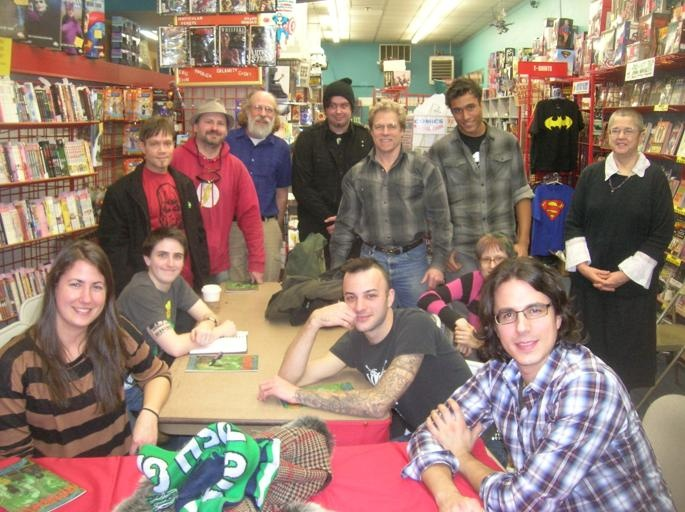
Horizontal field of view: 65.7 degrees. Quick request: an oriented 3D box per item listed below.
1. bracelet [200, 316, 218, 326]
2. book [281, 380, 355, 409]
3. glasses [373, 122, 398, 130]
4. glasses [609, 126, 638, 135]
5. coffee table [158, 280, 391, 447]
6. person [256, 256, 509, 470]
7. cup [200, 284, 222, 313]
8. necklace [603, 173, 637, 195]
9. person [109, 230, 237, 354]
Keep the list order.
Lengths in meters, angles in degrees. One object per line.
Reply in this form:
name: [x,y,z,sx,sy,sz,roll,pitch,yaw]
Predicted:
bracelet: [-0.767,0.380,3.125,0.075,0.051,0.069,4,-21,-34]
book: [-0.064,0.613,2.498,0.231,0.078,0.203,-4,17,0]
glasses: [0.306,-0.897,3.677,0.161,0.043,0.051,-5,17,-2]
glasses: [1.966,-0.874,3.703,0.187,0.071,0.077,6,20,29]
coffee table: [-0.464,0.460,2.432,0.512,0.233,0.962,-1,27,-3]
person: [0.194,0.647,2.673,1.253,1.209,0.608,-9,5,-33]
cup: [-0.853,0.286,3.592,0.158,0.134,0.167,-3,0,0]
necklace: [1.960,-0.524,3.762,0.044,0.123,0.142,36,-6,-18]
person: [-1.014,0.210,3.209,0.807,0.715,0.506,14,16,30]
